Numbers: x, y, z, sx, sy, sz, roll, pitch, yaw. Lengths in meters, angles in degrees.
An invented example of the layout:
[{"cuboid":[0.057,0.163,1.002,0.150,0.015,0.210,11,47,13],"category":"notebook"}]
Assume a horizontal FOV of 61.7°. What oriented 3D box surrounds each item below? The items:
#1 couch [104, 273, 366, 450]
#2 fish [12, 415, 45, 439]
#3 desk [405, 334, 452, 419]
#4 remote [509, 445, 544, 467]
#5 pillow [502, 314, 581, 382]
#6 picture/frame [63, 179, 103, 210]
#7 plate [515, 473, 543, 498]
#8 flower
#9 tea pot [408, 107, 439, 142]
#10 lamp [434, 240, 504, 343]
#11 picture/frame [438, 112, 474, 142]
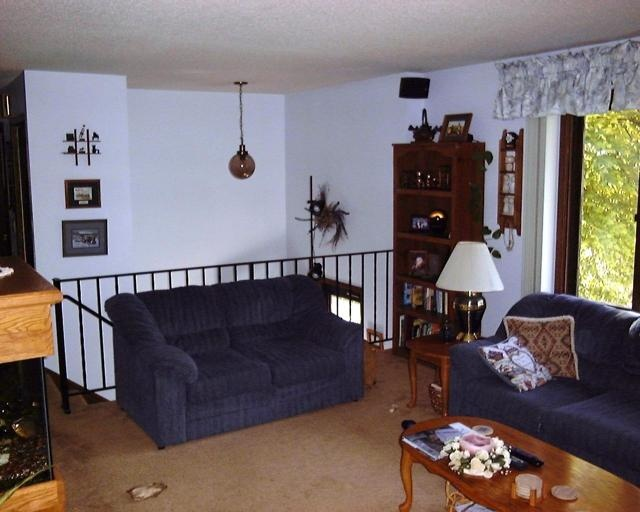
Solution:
[{"cuboid":[-0.712,0.784,4.419,1.870,0.936,0.965,-6,12,-26],"category":"couch"},{"cuboid":[-1.240,0.725,2.267,0.072,0.080,0.109,-12,6,-7],"category":"fish"},{"cuboid":[0.881,0.954,4.474,0.495,0.575,0.521,4,9,30],"category":"desk"},{"cuboid":[1.083,1.053,2.803,0.208,0.056,0.056,19,-14,30],"category":"remote"},{"cuboid":[1.696,0.667,3.935,0.440,0.449,0.116,2,-6,24],"category":"pillow"},{"cuboid":[-2.526,-0.648,5.611,0.302,0.275,0.033,-4,8,-31],"category":"picture/frame"},{"cuboid":[1.000,1.105,2.572,0.119,0.062,0.127,6,13,30],"category":"plate"},{"cuboid":[0.815,1.013,2.816,0.299,0.103,0.296,-1,0,44],"category":"flower"},{"cuboid":[1.043,-1.292,5.387,0.303,0.322,0.308,1,6,0],"category":"tea pot"},{"cuboid":[1.133,0.212,4.161,0.531,0.849,0.565,-6,14,-17],"category":"lamp"},{"cuboid":[1.336,-1.240,5.218,0.040,0.414,0.404,25,-17,-37],"category":"picture/frame"}]
